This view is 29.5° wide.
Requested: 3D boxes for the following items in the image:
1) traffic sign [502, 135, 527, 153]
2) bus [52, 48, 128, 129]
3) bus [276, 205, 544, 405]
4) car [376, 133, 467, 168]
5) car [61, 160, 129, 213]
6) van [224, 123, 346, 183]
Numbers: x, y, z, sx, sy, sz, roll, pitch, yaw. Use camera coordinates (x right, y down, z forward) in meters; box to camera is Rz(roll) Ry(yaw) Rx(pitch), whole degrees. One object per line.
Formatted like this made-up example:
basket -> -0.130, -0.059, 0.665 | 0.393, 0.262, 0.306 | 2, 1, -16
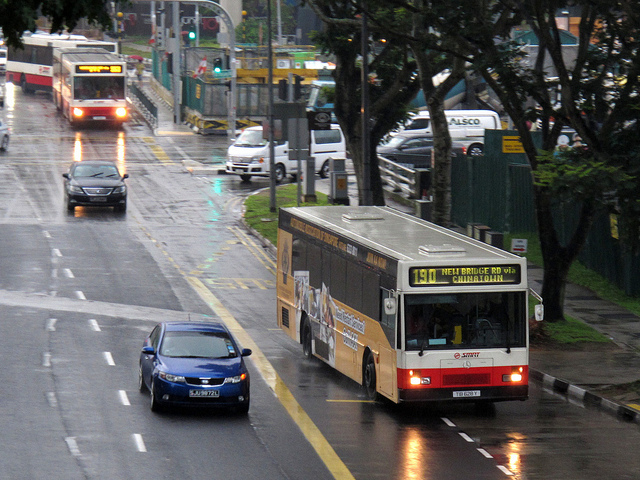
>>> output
traffic sign -> 6.981, -3.433, 43.867 | 0.624, 0.689, 1.513 | 5, 12, 11
bus -> -14.018, -9.442, 74.186 | 4.089, 4.291, 12.881 | -1, 12, -15
bus -> 1.822, 1.312, 28.801 | 3.743, 3.601, 8.863 | -2, 13, -21
car -> 4.633, -4.014, 57.084 | 4.309, 1.351, 1.969 | 3, 6, -1
car -> -8.706, -1.910, 46.622 | 2.297, 1.714, 2.137 | -1, 13, -17
van -> -1.501, -3.970, 56.608 | 5.054, 2.097, 2.866 | -1, 2, -44
